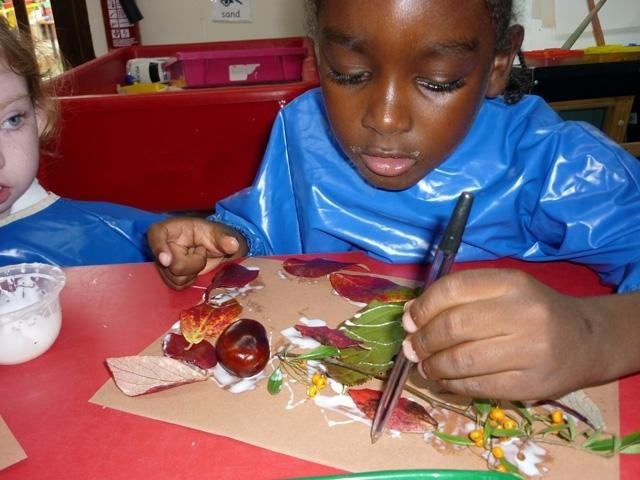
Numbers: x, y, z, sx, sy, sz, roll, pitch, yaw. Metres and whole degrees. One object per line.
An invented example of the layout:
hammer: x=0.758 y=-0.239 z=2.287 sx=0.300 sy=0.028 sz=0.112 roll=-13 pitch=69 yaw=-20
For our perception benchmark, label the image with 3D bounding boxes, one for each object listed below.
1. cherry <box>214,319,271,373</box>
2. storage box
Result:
cherry: x=-0.094 y=0.131 z=0.616 sx=0.085 sy=0.045 sz=0.089 roll=3 pitch=12 yaw=4
storage box: x=-0.289 y=-0.873 z=2.353 sx=0.839 sy=0.200 sz=0.514 roll=-1 pitch=24 yaw=-1
